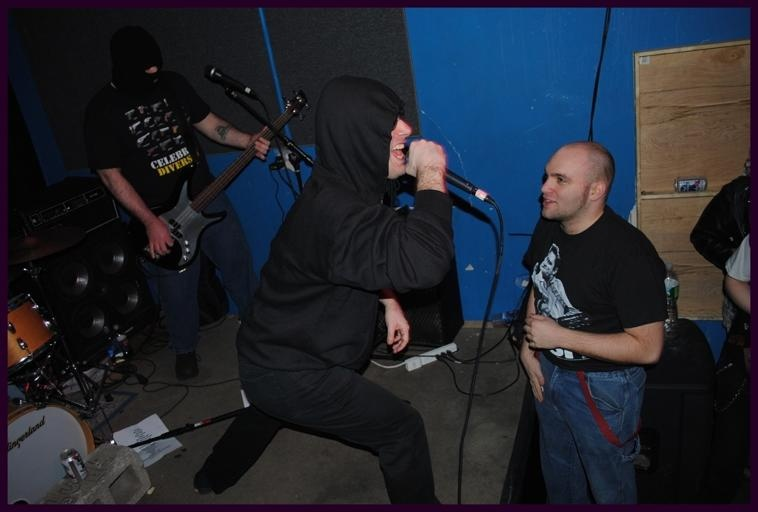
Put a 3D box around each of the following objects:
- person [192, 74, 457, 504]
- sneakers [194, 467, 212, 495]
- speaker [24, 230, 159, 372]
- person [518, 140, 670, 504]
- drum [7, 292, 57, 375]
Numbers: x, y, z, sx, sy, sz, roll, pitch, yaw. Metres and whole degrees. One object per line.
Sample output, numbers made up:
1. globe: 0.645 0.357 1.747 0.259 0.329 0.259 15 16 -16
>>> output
1. person: -0.123 0.358 2.950 1.258 2.427 0.711 -17 26 -15
2. sneakers: -1.166 1.513 3.682 0.130 0.167 0.046 -3 -4 6
3. speaker: -2.363 0.361 4.520 0.665 1.152 0.859 -1 26 21
4. person: 1.201 0.477 3.149 0.772 2.049 0.952 -6 25 7
5. drum: -2.350 0.501 3.730 0.198 0.398 0.457 -12 24 -4
